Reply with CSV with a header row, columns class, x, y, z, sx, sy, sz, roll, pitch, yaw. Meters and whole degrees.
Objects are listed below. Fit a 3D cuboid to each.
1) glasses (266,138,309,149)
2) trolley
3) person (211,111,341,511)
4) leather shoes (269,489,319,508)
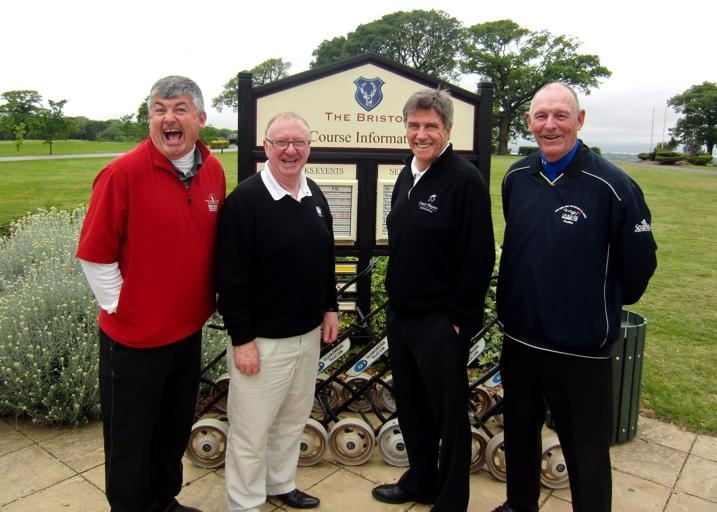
class,x,y,z,sx,sy,sz,roll,pitch,yaw
glasses,-0.496,-0.792,3.681,0.281,0.067,0.095,-5,15,-20
trolley,0.112,0.942,4.943,3.120,1.638,1.741,1,4,-1
person,-0.622,0.472,3.793,0.844,2.952,0.534,-5,14,-18
leather shoes,-0.517,1.890,4.096,0.386,0.170,0.134,-2,-2,8
